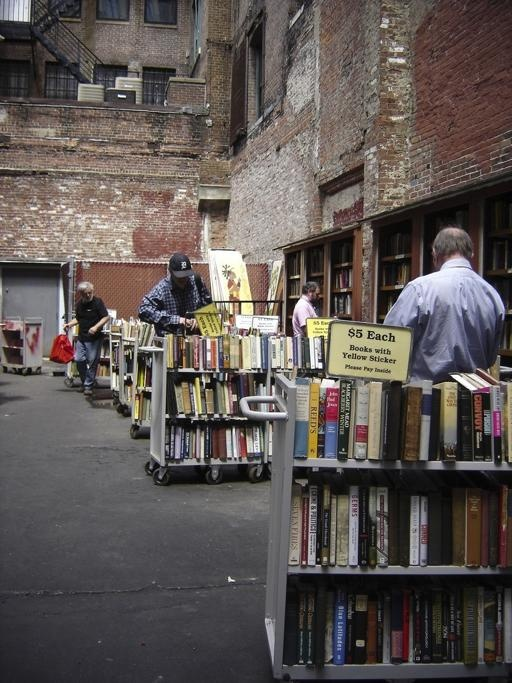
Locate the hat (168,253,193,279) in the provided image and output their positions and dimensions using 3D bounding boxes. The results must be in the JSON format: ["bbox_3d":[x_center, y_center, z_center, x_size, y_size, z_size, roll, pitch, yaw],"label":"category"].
[{"bbox_3d":[-0.620,-0.626,7.117,0.133,0.124,0.212,-3,34,-24],"label":"hat"}]
